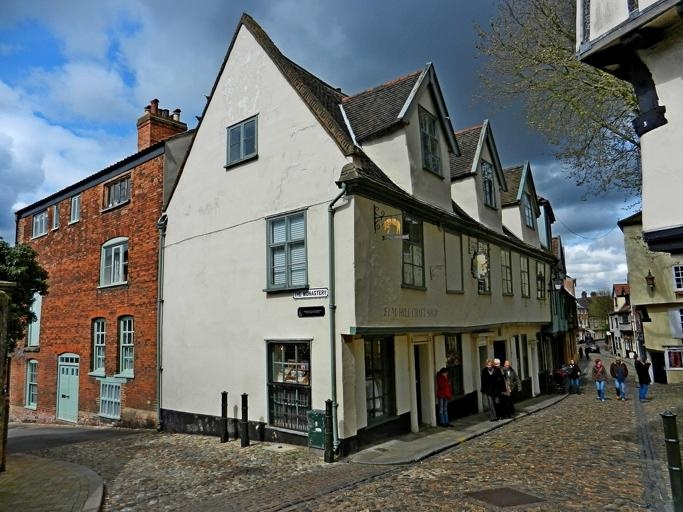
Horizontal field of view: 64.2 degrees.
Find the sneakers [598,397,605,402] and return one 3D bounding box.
[{"bbox_3d":[11.026,6.081,23.006,0.128,0.191,0.414,1,0,-2],"label":"sneakers"}]

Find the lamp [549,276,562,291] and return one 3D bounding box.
[{"bbox_3d":[11.052,1.376,27.984,0.722,1.025,0.701,-4,-10,30],"label":"lamp"}]

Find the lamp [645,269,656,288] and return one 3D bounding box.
[{"bbox_3d":[18.713,1.477,32.862,0.513,1.170,0.858,-3,-3,33],"label":"lamp"}]

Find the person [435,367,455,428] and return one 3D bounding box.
[{"bbox_3d":[3.339,4.570,17.672,0.453,1.774,0.529,-1,-3,1],"label":"person"}]

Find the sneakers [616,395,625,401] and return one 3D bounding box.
[{"bbox_3d":[11.822,6.045,22.998,0.153,0.242,0.544,-3,-23,5],"label":"sneakers"}]

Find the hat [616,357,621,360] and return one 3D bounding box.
[{"bbox_3d":[11.837,4.402,23.204,0.150,0.102,0.149,6,-7,-42],"label":"hat"}]
